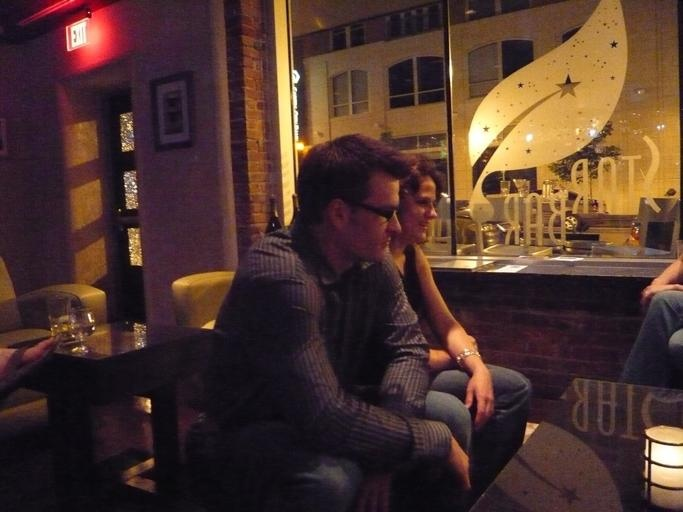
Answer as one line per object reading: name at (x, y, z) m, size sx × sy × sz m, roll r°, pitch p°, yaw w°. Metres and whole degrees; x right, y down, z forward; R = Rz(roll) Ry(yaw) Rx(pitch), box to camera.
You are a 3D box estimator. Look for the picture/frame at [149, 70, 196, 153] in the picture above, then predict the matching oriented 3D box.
picture/frame at (-0.812, -0.675, 2.754) m, size 0.027 × 0.306 × 0.226 m, roll 17°, pitch 28°, yaw 30°
